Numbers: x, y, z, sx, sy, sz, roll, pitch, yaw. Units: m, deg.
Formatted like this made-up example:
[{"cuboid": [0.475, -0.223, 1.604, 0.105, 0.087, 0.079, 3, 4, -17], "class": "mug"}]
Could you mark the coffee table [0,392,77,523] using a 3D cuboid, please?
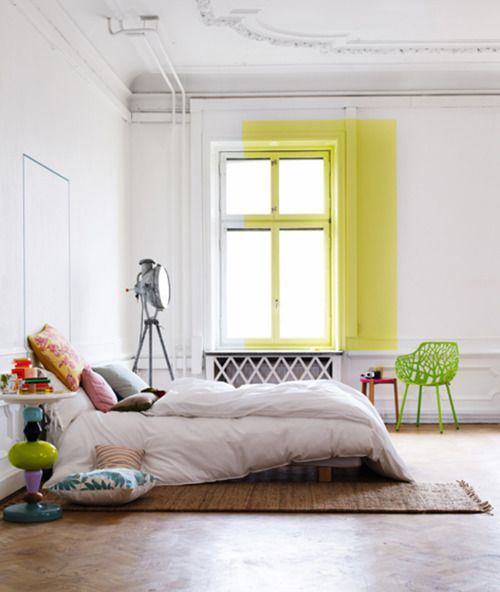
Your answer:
[{"cuboid": [-1.105, 0.784, 2.922, 0.336, 0.598, 0.685, 2, -5, -19], "class": "coffee table"}]

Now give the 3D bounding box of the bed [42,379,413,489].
[{"cuboid": [-0.112, 0.817, 3.450, 1.178, 0.364, 0.913, -2, -5, -1], "class": "bed"}]

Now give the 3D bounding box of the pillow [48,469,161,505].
[{"cuboid": [-0.759, 0.987, 2.910, 0.419, 0.155, 0.397, -4, -12, 3], "class": "pillow"}]

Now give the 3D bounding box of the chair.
[{"cuboid": [1.776, 0.851, 5.543, 0.528, 0.782, 0.511, 1, 2, 33], "class": "chair"}]

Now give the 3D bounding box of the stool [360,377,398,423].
[{"cuboid": [1.188, 0.951, 5.438, 0.262, 0.293, 0.270, 1, -2, 6], "class": "stool"}]
